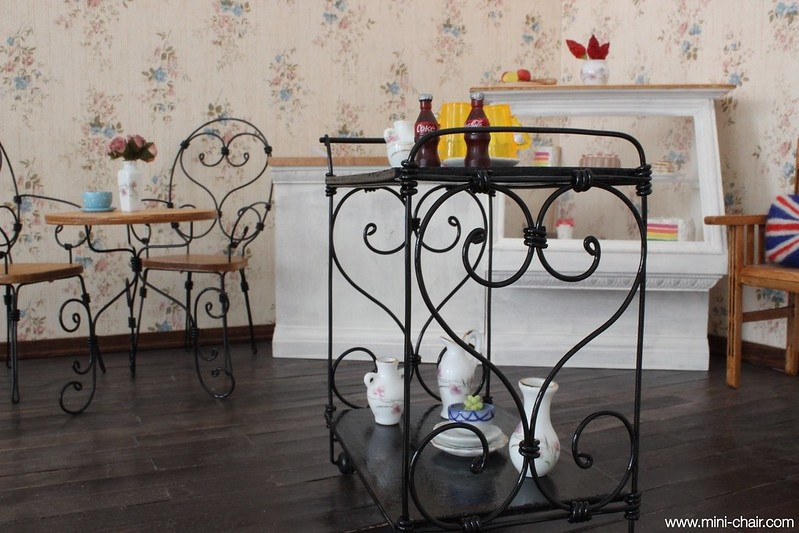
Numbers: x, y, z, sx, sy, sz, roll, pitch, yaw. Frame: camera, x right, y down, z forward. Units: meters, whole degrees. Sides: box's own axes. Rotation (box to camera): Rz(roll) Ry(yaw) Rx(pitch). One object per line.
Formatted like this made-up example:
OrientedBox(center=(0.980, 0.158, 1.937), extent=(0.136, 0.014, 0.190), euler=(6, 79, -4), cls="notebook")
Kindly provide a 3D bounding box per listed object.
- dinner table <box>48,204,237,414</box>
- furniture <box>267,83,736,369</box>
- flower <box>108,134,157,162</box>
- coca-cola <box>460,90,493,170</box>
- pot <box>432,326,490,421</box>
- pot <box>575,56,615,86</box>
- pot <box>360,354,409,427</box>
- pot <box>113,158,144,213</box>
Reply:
OrientedBox(center=(-1.400, 0.134, 4.069), extent=(1.162, 1.150, 1.044), euler=(1, 5, -18), cls="dinner table")
OrientedBox(center=(0.622, -0.146, 3.849), extent=(1.614, 1.132, 0.598), euler=(0, 3, 3), cls="furniture")
OrientedBox(center=(-1.481, -0.652, 4.040), extent=(0.162, 0.143, 0.165), euler=(32, 30, 22), cls="flower")
OrientedBox(center=(0.273, -0.482, 2.581), extent=(0.089, 0.282, 0.302), euler=(0, 6, 7), cls="coca-cola")
OrientedBox(center=(0.232, 0.430, 2.925), extent=(0.313, 0.483, 0.232), euler=(1, -1, 0), cls="pot")
OrientedBox(center=(1.148, -1.132, 4.274), extent=(0.165, 0.183, 0.168), euler=(2, 8, 0), cls="pot")
OrientedBox(center=(-0.050, 0.525, 3.023), extent=(0.193, 0.263, 0.159), euler=(-1, 2, -15), cls="pot")
OrientedBox(center=(-1.449, -0.430, 3.944), extent=(0.114, 0.271, 0.123), euler=(-1, 6, 0), cls="pot")
